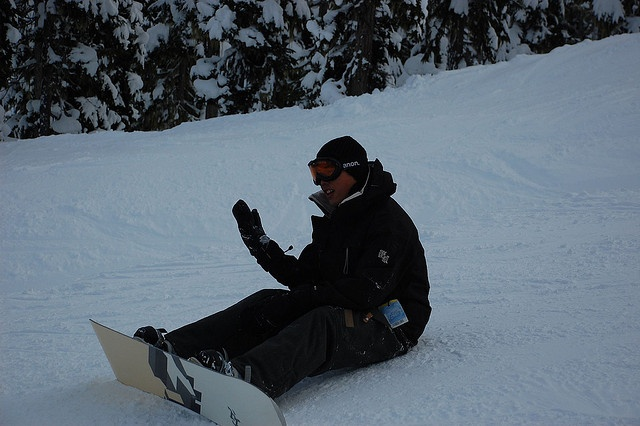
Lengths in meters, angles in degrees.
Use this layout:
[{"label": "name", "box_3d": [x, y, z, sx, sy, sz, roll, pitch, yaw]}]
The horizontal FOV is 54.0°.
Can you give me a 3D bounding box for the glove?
[{"label": "glove", "box_3d": [-0.789, 0.207, 8.477, 0.658, 1.047, 0.309, -23, 27, 41]}]
